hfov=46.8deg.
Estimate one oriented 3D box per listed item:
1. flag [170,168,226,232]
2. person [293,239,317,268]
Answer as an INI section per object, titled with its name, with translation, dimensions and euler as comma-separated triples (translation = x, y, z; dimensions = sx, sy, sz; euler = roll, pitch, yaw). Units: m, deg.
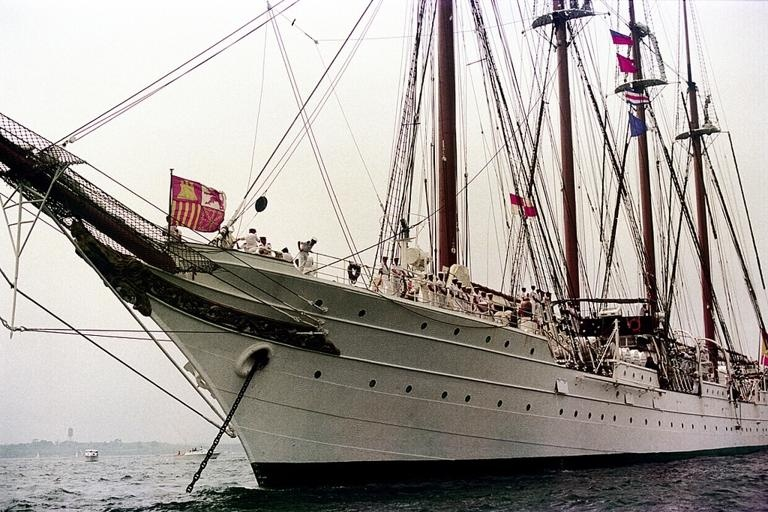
[flag]
translation = -5.330, -1.400, 24.851
dimensions = 1.747, 1.677, 0.197
euler = 18, -19, -23
[person]
translation = -2.029, -0.018, 23.104
dimensions = 0.334, 0.903, 0.400
euler = -10, -33, 37
